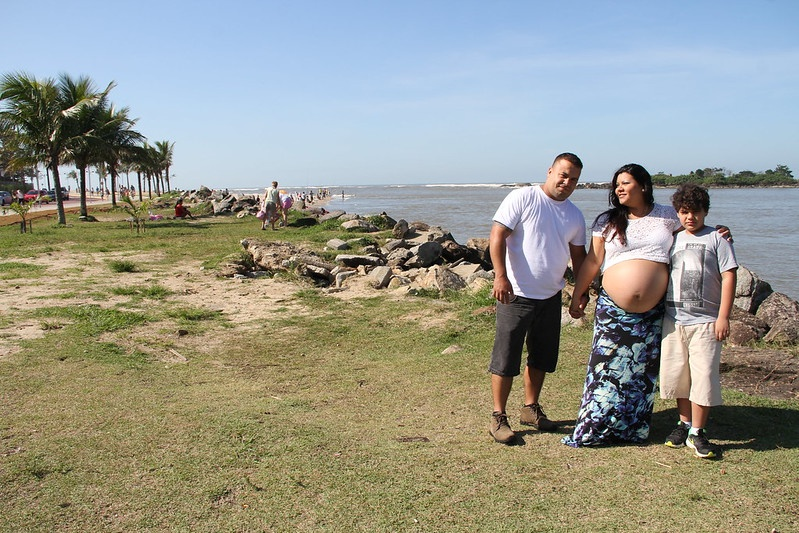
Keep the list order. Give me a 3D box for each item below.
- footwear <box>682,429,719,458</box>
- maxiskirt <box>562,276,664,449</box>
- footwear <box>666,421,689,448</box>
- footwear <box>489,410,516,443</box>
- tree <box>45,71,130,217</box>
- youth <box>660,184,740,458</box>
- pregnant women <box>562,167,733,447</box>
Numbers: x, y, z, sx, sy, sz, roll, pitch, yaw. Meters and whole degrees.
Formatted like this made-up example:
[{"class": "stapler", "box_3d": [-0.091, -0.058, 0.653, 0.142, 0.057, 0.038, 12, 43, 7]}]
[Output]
[{"class": "footwear", "box_3d": [2.660, 1.536, 4.925, 0.247, 0.223, 0.197, 1, 11, 5]}, {"class": "maxiskirt", "box_3d": [1.981, 0.795, 5.204, 0.573, 1.581, 0.670, 1, 2, 36]}, {"class": "footwear", "box_3d": [2.484, 1.522, 5.081, 0.118, 0.133, 0.336, 3, 6, 39]}, {"class": "footwear", "box_3d": [0.950, 1.491, 5.213, 0.242, 0.239, 0.191, 3, 12, 15]}, {"class": "tree", "box_3d": [-12.879, -4.744, 23.288, 3.141, 7.352, 2.104, -9, 13, -32]}, {"class": "youth", "box_3d": [2.616, 0.388, 5.198, 0.725, 2.052, 0.946, 0, 2, 21]}, {"class": "pregnant women", "box_3d": [2.206, 0.318, 5.247, 1.699, 2.447, 0.846, -1, 1, -3]}]
